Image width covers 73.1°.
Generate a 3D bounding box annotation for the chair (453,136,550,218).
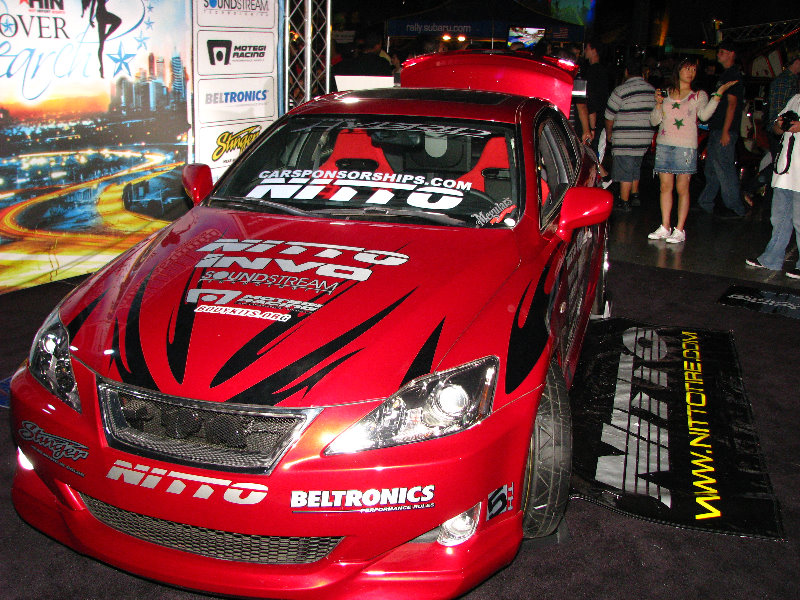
[{"bbox_3d":[0.563,-0.745,3.382,0.568,0.529,0.707,8,11,15],"label":"chair"}]
